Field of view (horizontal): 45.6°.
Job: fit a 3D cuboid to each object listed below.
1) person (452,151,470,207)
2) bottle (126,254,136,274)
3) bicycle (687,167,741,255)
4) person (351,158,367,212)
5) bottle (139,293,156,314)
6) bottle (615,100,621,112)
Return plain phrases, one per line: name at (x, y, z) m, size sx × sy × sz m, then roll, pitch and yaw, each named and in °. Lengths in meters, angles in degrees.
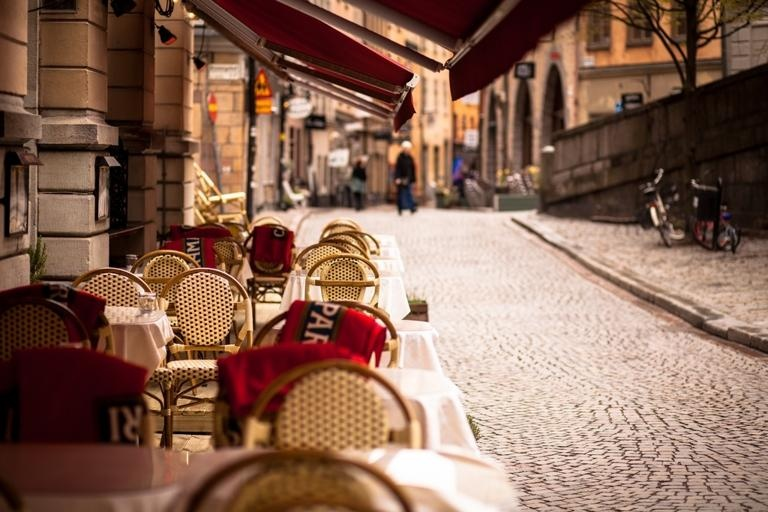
person at (3.580, -3.385, 41.002) m, size 0.587 × 2.174 × 0.503 m, roll -5°, pitch 17°, yaw 30°
bottle at (-3.174, 0.098, 11.416) m, size 0.158 × 0.298 × 0.168 m, roll 1°, pitch -2°, yaw 0°
bicycle at (6.869, -0.781, 19.016) m, size 0.828 × 1.225 × 1.946 m, roll -5°, pitch 3°, yaw 7°
person at (-1.048, -2.978, 37.612) m, size 0.526 × 2.093 × 1.511 m, roll 0°, pitch 7°, yaw -2°
bottle at (-1.997, 0.400, 7.758) m, size 0.143 × 0.177 × 0.153 m, roll 0°, pitch 0°, yaw 5°
bottle at (7.976, -5.096, 31.061) m, size 0.203 × 0.331 × 1.459 m, roll 1°, pitch 8°, yaw 13°
